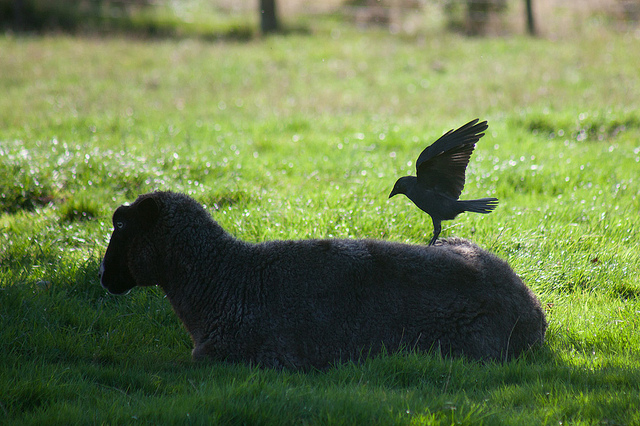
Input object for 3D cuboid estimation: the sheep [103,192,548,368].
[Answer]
[{"bbox_3d":[0.019,1.241,18.430,7.026,2.555,1.204,3,21,4],"label":"sheep"}]
